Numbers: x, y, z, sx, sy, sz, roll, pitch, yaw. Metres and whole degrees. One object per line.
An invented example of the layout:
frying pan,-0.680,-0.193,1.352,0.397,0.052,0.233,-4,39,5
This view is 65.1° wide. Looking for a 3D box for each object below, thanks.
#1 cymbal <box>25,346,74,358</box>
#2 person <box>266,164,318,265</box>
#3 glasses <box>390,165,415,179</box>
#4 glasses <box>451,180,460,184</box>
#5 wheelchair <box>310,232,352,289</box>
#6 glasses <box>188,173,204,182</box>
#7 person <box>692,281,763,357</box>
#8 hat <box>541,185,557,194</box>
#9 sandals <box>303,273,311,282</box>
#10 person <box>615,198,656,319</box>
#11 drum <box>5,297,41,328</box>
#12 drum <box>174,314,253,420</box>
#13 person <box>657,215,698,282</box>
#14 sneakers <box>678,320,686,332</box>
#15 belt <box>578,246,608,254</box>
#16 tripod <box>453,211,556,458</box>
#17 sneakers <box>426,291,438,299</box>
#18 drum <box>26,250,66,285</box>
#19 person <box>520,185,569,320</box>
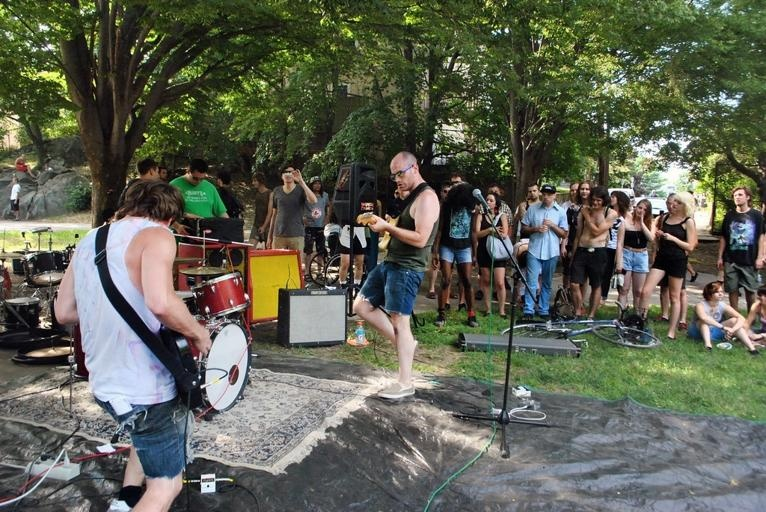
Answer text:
cymbal,-4.415,1.271,7.954,0.363,0.061,0.366,0,-2,5
person,-1.682,-0.774,10.876,0.793,1.310,2.313,2,0,-11
glasses,0.238,-1.003,6.970,0.166,0.050,0.160,-30,7,-20
glasses,1.234,-1.262,10.239,0.091,0.029,0.086,7,-4,-37
wheelchair,-1.209,0.116,13.153,1.349,1.309,0.825,1,1,1
glasses,-2.841,-1.194,9.160,0.153,0.155,0.138,14,-17,47
person,5.397,0.936,9.495,0.922,1.210,0.772,2,0,1
hat,2.760,-1.121,9.979,0.201,0.173,0.303,2,0,23
sandals,-1.607,0.447,12.960,0.181,0.145,0.309,2,0,-8
person,4.362,0.093,10.347,0.508,2.147,0.564,6,9,20
drum,-5.319,0.796,8.860,0.476,0.419,0.468,-4,12,-39
drum,-1.838,1.123,6.377,0.659,0.953,0.912,7,9,13
person,4.704,-0.180,9.758,0.474,1.122,0.391,2,1,37
sneakers,5.061,1.165,10.133,0.097,0.115,0.271,2,1,28
belt,3.449,-0.105,9.910,0.426,0.114,0.122,2,0,1
tripod,1.377,1.266,6.628,1.036,2.168,0.769,1,1,-44
sneakers,0.963,0.759,11.793,0.138,0.098,0.267,1,2,3
drum,-5.672,0.218,10.117,0.591,0.533,0.566,-8,19,-15
person,2.647,-0.083,10.058,0.783,2.181,0.682,4,3,15
